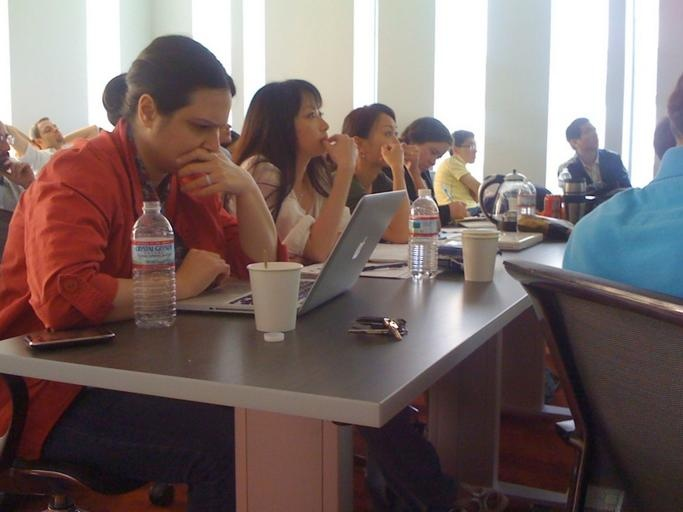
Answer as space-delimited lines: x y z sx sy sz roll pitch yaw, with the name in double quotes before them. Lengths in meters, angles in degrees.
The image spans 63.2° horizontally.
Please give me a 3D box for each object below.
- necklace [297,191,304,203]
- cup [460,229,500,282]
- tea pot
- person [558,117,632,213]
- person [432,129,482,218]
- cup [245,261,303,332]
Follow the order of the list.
"necklace" -0.184 -0.266 2.492 0.013 0.036 0.054 7 3 16
"cup" 0.395 -0.007 1.676 0.129 0.156 0.133 0 12 0
"tea pot" 0.893 -0.302 3.086 0.349 0.372 0.211 2 3 -23
"person" 2.428 -0.837 5.366 0.584 0.976 0.665 -7 8 8
"person" 1.311 -0.845 5.809 0.629 0.916 0.508 -1 1 11
"cup" -0.142 0.085 1.202 0.126 0.141 0.130 0 2 0
